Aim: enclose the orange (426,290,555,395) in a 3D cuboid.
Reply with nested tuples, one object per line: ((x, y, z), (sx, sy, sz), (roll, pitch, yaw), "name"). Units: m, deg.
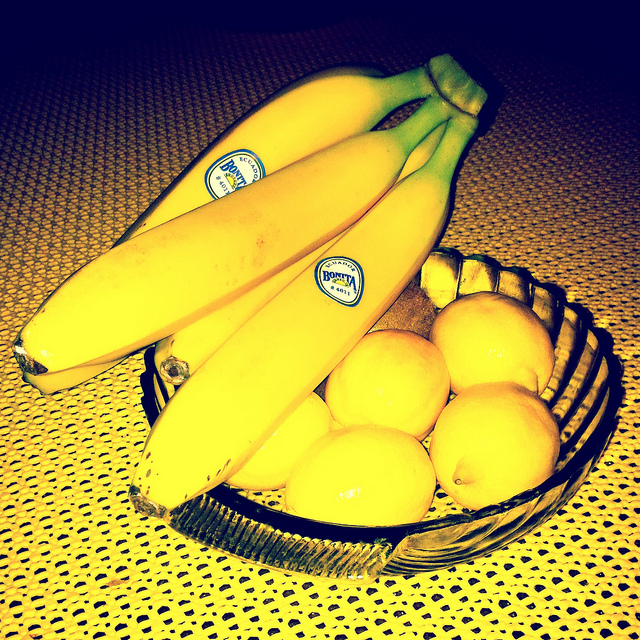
((0.157, 0.001, 0.752), (0.112, 0.087, 0.091), (3, 34, 46), "orange")

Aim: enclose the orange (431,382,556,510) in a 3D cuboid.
((0.154, 0.114, 0.664), (0.111, 0.103, 0.129), (-2, 25, 18), "orange")

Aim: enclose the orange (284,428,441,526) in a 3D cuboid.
((0.035, 0.131, 0.611), (0.111, 0.066, 0.079), (-8, 16, -12), "orange")

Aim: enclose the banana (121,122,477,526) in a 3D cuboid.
((-0.020, 0.011, 0.676), (0.090, 0.143, 0.427), (43, 84, 4), "banana")

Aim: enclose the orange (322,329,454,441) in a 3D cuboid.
((0.069, 0.078, 0.750), (0.110, 0.100, 0.120), (10, 47, 27), "orange")
